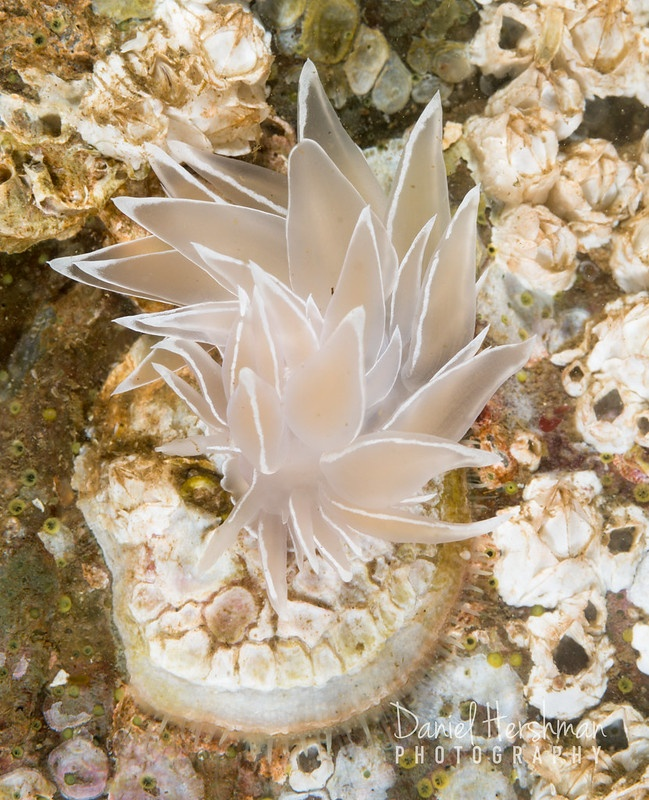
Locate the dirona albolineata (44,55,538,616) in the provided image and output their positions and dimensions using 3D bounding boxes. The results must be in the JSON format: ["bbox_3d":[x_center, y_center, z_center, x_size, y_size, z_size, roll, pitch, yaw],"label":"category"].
[{"bbox_3d":[-0.013,-0.188,3.274,1.262,0.928,1.446,-29,85,-3],"label":"dirona albolineata"}]
